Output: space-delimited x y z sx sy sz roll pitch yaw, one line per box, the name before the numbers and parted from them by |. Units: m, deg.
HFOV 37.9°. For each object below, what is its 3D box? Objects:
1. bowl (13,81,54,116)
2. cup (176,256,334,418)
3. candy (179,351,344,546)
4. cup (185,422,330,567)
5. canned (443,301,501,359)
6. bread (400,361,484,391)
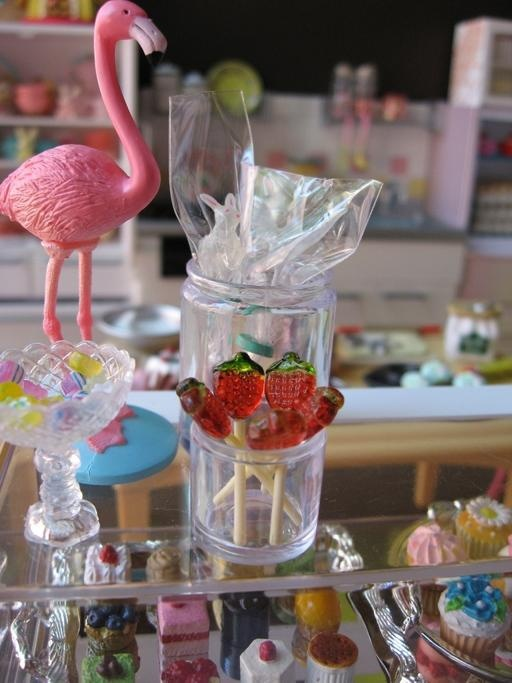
bowl | -0.847 -0.929 2.836 0.144 0.096 0.147 0 20 0
cup | -0.004 -0.011 0.743 0.142 0.137 0.140 4 14 -1
candy | 0.013 0.083 0.671 0.133 0.171 0.209 5 17 12
cup | -0.002 0.131 0.698 0.108 0.116 0.119 -2 19 -15
canned | 0.278 -0.014 0.959 0.074 0.069 0.050 1 20 -8
bread | 0.258 0.047 1.027 0.128 0.047 0.041 -4 -1 35
